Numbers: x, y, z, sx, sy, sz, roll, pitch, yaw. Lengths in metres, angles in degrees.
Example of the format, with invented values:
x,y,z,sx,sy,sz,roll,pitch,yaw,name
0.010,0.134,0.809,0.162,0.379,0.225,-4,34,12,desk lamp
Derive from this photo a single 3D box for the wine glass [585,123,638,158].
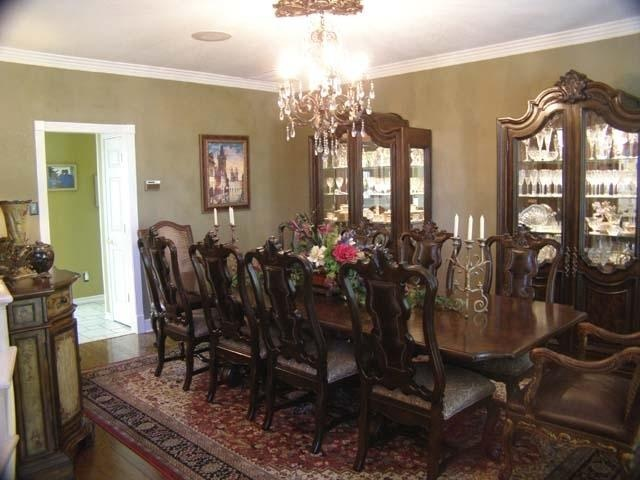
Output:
x,y,z,sx,sy,sz,roll,pitch,yaw,name
2.525,-0.820,4.183,0.284,0.269,0.314,0,0,-39,wine glass

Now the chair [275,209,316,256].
x,y,z,sx,sy,sz,roll,pitch,yaw,name
-0.173,-0.022,4.305,0.311,0.305,0.289,-3,2,39,chair

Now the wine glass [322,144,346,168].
x,y,z,sx,sy,sz,roll,pitch,yaw,name
0.194,-1.063,6.042,0.098,0.264,0.298,-7,7,-44,wine glass

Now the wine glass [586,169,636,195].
x,y,z,sx,sy,sz,roll,pitch,yaw,name
2.538,-0.500,4.215,0.368,0.224,0.081,3,10,29,wine glass

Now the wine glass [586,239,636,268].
x,y,z,sx,sy,sz,roll,pitch,yaw,name
2.570,0.109,4.265,0.243,0.156,0.242,-4,4,-33,wine glass
